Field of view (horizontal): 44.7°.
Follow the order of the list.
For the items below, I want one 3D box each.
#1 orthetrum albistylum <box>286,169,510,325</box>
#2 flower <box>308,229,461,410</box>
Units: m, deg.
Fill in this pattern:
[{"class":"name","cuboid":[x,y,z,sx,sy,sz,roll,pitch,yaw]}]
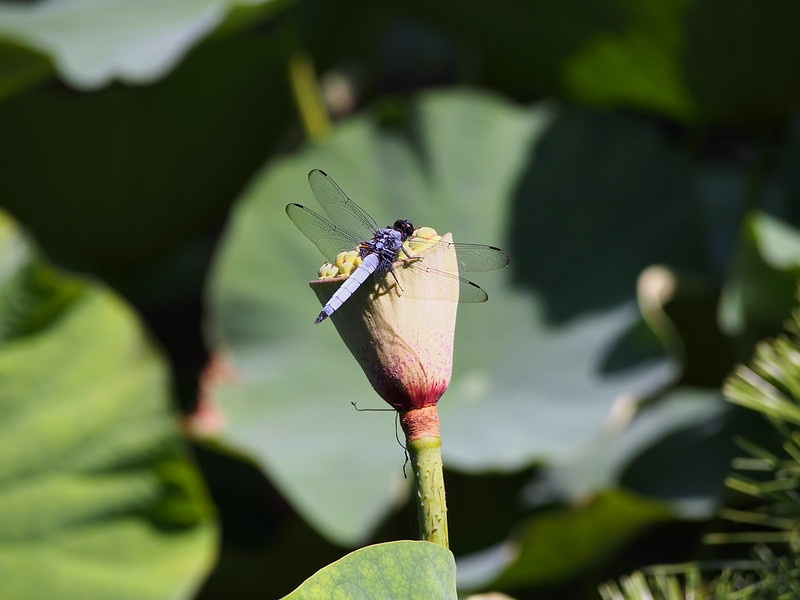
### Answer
[{"class":"orthetrum albistylum","cuboid":[-0.015,-0.041,0.799,0.199,0.134,0.094,24,87,11]},{"class":"flower","cuboid":[0.006,0.026,0.757,0.109,0.111,0.124,-20,89,-23]}]
